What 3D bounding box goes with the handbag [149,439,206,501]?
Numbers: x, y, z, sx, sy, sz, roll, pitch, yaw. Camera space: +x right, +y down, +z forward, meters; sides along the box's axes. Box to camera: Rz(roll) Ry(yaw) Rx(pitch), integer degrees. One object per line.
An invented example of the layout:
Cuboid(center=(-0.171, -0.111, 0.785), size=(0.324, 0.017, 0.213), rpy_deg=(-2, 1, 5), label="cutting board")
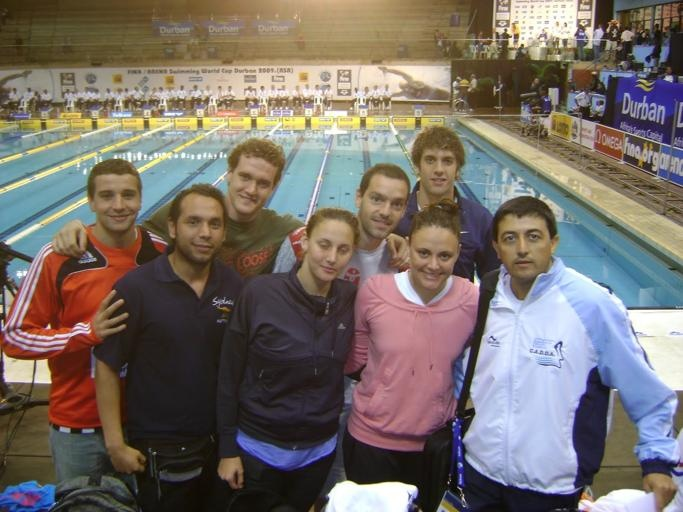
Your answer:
Cuboid(center=(-0.702, 0.889, 2.141), size=(0.213, 0.240, 0.093), rpy_deg=(2, 0, -12), label="handbag")
